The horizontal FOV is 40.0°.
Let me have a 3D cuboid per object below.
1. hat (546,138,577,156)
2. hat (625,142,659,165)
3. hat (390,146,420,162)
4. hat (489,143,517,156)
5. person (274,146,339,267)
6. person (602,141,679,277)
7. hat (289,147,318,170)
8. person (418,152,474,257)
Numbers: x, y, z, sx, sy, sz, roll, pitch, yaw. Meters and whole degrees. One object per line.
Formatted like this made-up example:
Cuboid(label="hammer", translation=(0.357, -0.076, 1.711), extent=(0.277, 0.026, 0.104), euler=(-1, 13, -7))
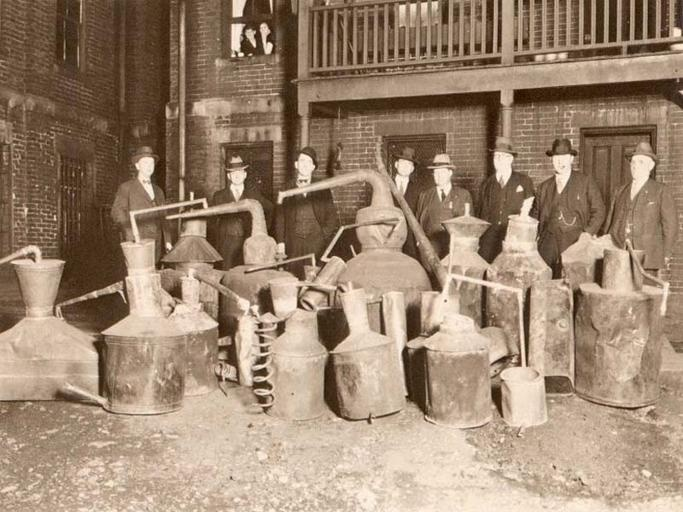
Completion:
Cuboid(label="hat", translation=(3.098, -1.528, 13.283), extent=(0.397, 0.221, 0.464), euler=(4, 3, 30))
Cuboid(label="hat", translation=(4.318, -1.506, 13.590), extent=(0.484, 0.227, 0.416), euler=(25, -6, -39))
Cuboid(label="hat", translation=(1.043, -1.720, 15.457), extent=(0.469, 0.225, 0.584), euler=(16, 0, 5))
Cuboid(label="hat", translation=(2.336, -1.560, 13.568), extent=(0.375, 0.182, 0.457), euler=(5, 5, 18))
Cuboid(label="person", translation=(-0.517, -0.469, 14.296), extent=(0.958, 2.703, 0.653), euler=(6, 28, 11))
Cuboid(label="person", translation=(4.103, -0.639, 12.932), extent=(0.922, 1.870, 0.398), euler=(4, 9, 22))
Cuboid(label="hat", translation=(-0.536, -1.486, 13.963), extent=(0.274, 0.311, 0.558), euler=(1, 10, 4))
Cuboid(label="person", translation=(1.451, -0.734, 13.623), extent=(0.775, 1.506, 0.485), euler=(1, 9, 6))
